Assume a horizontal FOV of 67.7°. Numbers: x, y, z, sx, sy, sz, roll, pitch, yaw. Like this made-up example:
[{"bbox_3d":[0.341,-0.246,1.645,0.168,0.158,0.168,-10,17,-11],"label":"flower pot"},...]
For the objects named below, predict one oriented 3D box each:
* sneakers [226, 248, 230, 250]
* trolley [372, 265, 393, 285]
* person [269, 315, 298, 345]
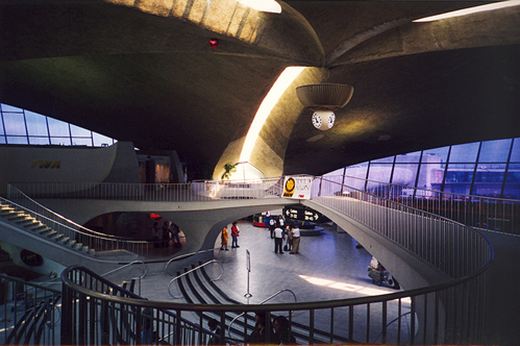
[{"bbox_3d":[-2.249,5.331,26.795,0.197,0.181,0.099,6,-11,-35],"label":"sneakers"},{"bbox_3d":[6.234,5.285,19.768,0.789,0.900,1.013,-26,-43,36],"label":"trolley"},{"bbox_3d":[0.641,4.198,10.345,0.606,0.907,1.266,5,-34,-3],"label":"person"}]
